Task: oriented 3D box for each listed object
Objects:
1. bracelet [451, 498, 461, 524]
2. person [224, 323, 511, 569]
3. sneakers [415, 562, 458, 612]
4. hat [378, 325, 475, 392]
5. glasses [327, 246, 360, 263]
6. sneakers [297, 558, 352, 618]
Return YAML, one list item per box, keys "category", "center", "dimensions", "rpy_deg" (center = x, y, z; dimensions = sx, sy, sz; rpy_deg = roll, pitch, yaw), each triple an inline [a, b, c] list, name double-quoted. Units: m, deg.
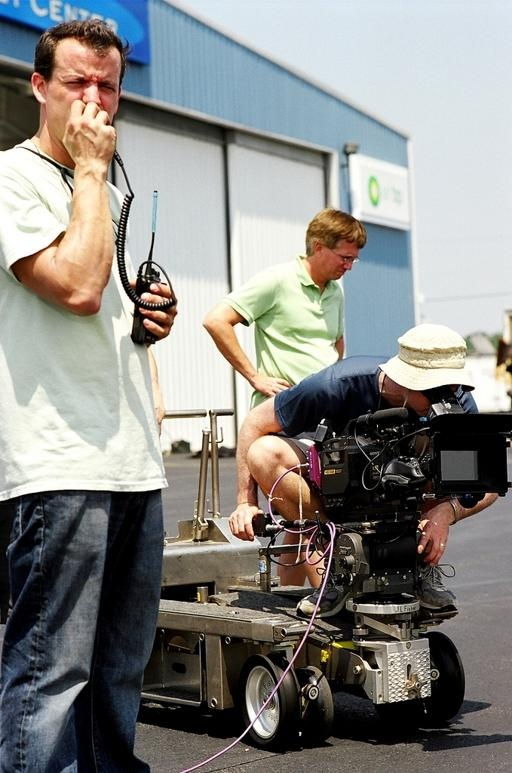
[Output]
- category: "bracelet"
  center: [0.762, 0.477, 3.909]
  dimensions: [0.030, 0.083, 0.061]
  rpy_deg: [-11, -5, 27]
- category: "person"
  center: [0.571, 0.170, 4.232]
  dimensions: [0.905, 1.184, 1.093]
  rpy_deg: [-3, 12, -39]
- category: "sneakers"
  center: [0.697, 0.755, 3.870]
  dimensions: [0.139, 0.150, 0.246]
  rpy_deg: [4, -1, 21]
- category: "hat"
  center: [0.639, -0.108, 3.627]
  dimensions: [0.315, 0.223, 0.485]
  rpy_deg: [4, 0, -7]
- category: "glasses"
  center: [0.440, -0.642, 5.009]
  dimensions: [0.083, 0.028, 0.084]
  rpy_deg: [-5, 45, -49]
- category: "sneakers"
  center: [0.249, 0.756, 3.704]
  dimensions: [0.103, 0.211, 0.312]
  rpy_deg: [-4, -6, 35]
